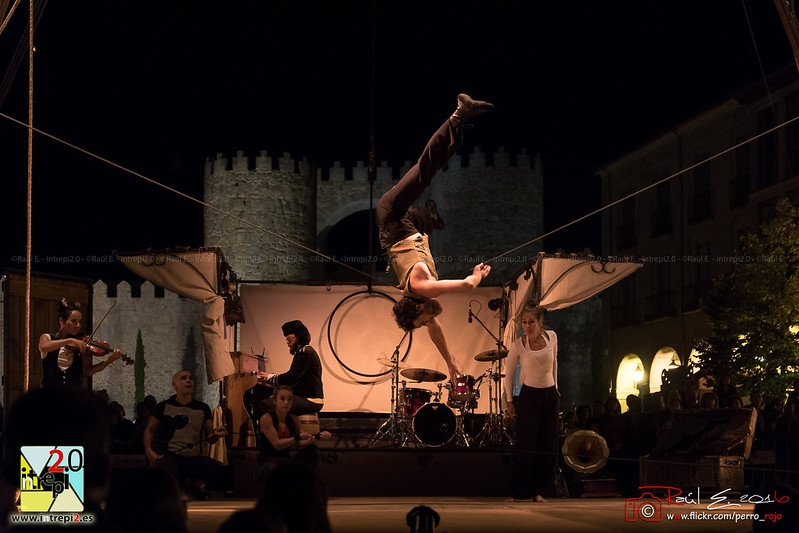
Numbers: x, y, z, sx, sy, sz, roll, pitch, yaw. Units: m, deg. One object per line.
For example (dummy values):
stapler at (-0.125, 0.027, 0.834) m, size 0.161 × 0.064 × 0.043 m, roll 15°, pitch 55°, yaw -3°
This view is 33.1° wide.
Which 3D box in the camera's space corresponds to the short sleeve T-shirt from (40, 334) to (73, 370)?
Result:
short sleeve T-shirt at (-5.325, 1.348, 20.991) m, size 0.345 × 0.579 × 0.494 m, roll -21°, pitch -18°, yaw 39°

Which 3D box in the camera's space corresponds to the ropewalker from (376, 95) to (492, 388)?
ropewalker at (0.542, -0.405, 20.710) m, size 1.636 × 4.000 × 1.241 m, roll 0°, pitch 0°, yaw -2°

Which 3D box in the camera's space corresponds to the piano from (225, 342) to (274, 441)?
piano at (-2.612, 2.596, 26.583) m, size 0.690 × 1.670 × 1.927 m, roll -7°, pitch -9°, yaw 23°

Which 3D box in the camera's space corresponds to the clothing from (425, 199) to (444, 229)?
clothing at (0.552, -0.776, 20.938) m, size 0.386 × 0.535 × 0.134 m, roll -7°, pitch 21°, yaw 6°

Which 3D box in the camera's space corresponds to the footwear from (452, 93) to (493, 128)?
footwear at (1.068, -2.365, 19.921) m, size 0.576 × 0.503 × 0.369 m, roll -6°, pitch -15°, yaw 27°

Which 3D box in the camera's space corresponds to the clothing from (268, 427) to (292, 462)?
clothing at (-1.893, 2.814, 21.144) m, size 0.514 × 0.586 × 0.355 m, roll 3°, pitch -18°, yaw -9°

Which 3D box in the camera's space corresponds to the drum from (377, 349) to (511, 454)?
drum at (0.664, 2.662, 24.116) m, size 2.528 × 1.598 × 1.747 m, roll 2°, pitch -20°, yaw -4°
